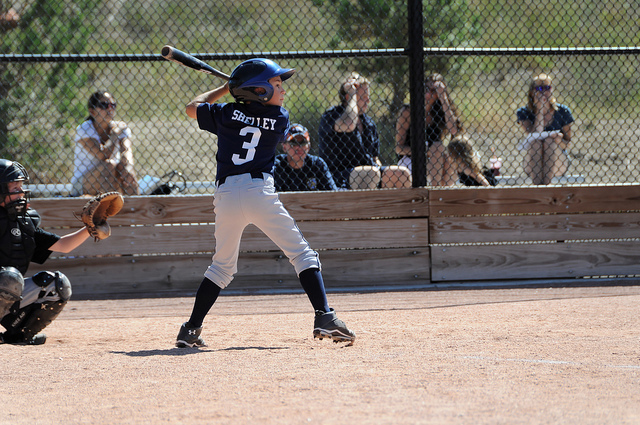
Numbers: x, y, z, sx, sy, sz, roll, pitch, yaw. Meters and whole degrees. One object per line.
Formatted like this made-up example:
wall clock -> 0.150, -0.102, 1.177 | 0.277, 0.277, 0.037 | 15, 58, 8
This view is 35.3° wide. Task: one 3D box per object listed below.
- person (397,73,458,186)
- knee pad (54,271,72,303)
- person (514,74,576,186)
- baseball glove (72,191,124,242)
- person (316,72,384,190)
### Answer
person -> 1.071, -0.826, 10.127 | 0.599, 1.121, 0.568 | 1, 4, 12
knee pad -> -2.190, 0.640, 8.590 | 0.120, 0.270, 0.241 | -1, 4, -12
person -> 2.327, -0.868, 10.409 | 0.587, 1.136, 0.836 | 1, 4, 11
baseball glove -> -1.833, 0.022, 8.618 | 0.257, 0.470, 0.350 | -7, -38, 11
person -> 0.388, -0.859, 10.401 | 0.869, 1.109, 0.787 | 2, 16, 1
